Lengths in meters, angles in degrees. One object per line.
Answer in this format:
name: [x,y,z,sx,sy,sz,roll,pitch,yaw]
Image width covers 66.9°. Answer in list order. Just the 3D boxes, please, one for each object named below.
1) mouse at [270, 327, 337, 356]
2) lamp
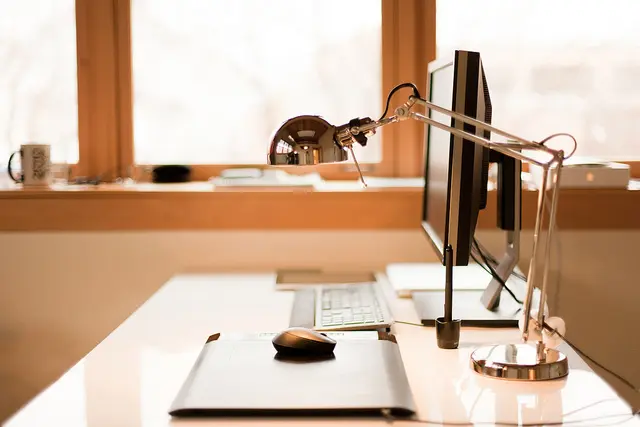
mouse: [-0.038,0.310,1.166,0.116,0.069,0.039,1,-92,-3]
lamp: [0.252,0.046,1.179,0.772,0.216,0.687,1,-92,-8]
